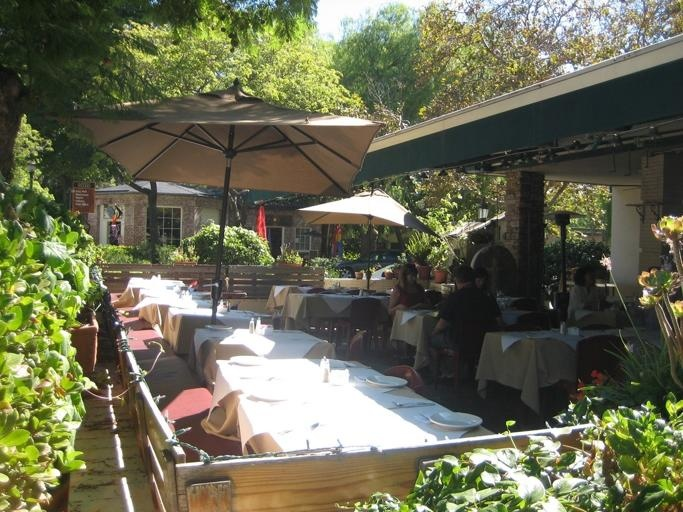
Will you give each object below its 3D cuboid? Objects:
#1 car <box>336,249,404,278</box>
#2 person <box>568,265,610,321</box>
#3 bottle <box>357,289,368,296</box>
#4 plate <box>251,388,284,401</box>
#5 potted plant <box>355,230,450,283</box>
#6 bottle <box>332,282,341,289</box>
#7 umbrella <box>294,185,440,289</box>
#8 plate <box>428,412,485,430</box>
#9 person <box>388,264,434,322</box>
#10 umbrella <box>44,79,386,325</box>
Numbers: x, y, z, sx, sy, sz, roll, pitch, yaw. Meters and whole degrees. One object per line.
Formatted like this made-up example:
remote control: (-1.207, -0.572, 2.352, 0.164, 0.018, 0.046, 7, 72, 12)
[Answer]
car: (0.860, 0.253, 21.147, 1.929, 0.911, 0.938, 0, 0, -16)
person: (3.244, 0.500, 8.465, 0.440, 0.788, 0.419, -13, 15, -38)
bottle: (0.337, 0.562, 9.827, 0.079, 0.103, 0.083, 1, 2, 0)
plate: (-0.424, 0.807, 3.710, 0.213, 0.049, 0.166, 2, -3, 0)
potted plant: (1.361, -0.075, 15.143, 2.120, 1.268, 1.374, 2, 0, 9)
bottle: (-0.092, 0.565, 12.154, 0.168, 0.197, 0.135, 3, -3, -8)
umbrella: (0.265, -0.500, 10.586, 1.779, 1.376, 1.810, 2, 6, -27)
plate: (0.599, 0.872, 3.397, 0.275, 0.063, 0.252, 1, -3, 8)
person: (0.901, 0.500, 8.486, 0.520, 0.809, 0.407, -10, 12, -25)
umbrella: (-0.988, -1.003, 5.855, 2.298, 1.952, 2.441, 13, 6, 31)
